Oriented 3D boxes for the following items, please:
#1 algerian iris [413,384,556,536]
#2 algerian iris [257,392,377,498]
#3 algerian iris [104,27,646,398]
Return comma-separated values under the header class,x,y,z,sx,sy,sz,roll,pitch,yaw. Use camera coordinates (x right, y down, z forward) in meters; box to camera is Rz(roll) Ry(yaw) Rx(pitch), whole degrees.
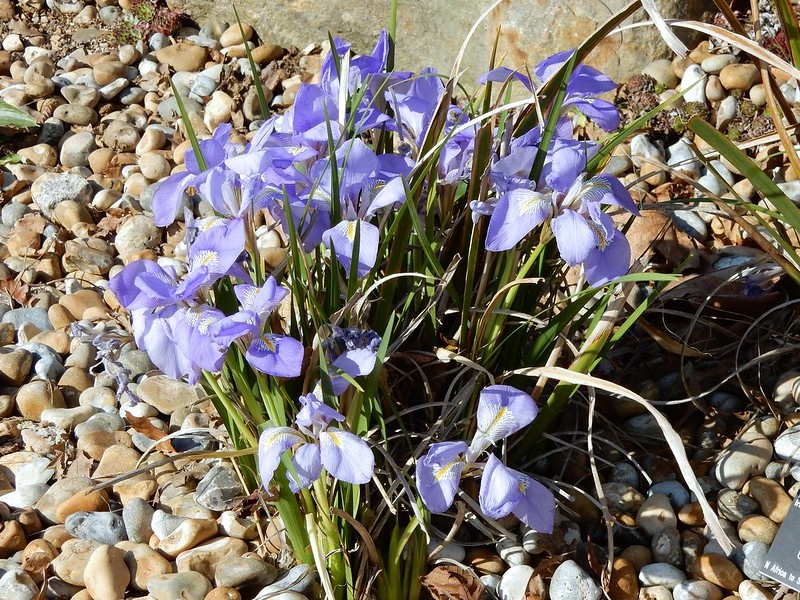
class,x,y,z,sx,sy,sz,roll,pitch,yaw
algerian iris,0.190,0.346,1.949,0.267,0.370,0.330,2,17,5
algerian iris,-0.186,0.345,1.858,0.262,0.245,0.177,-3,54,4
algerian iris,-0.065,-0.247,1.955,1.238,0.436,0.771,-17,57,-5
